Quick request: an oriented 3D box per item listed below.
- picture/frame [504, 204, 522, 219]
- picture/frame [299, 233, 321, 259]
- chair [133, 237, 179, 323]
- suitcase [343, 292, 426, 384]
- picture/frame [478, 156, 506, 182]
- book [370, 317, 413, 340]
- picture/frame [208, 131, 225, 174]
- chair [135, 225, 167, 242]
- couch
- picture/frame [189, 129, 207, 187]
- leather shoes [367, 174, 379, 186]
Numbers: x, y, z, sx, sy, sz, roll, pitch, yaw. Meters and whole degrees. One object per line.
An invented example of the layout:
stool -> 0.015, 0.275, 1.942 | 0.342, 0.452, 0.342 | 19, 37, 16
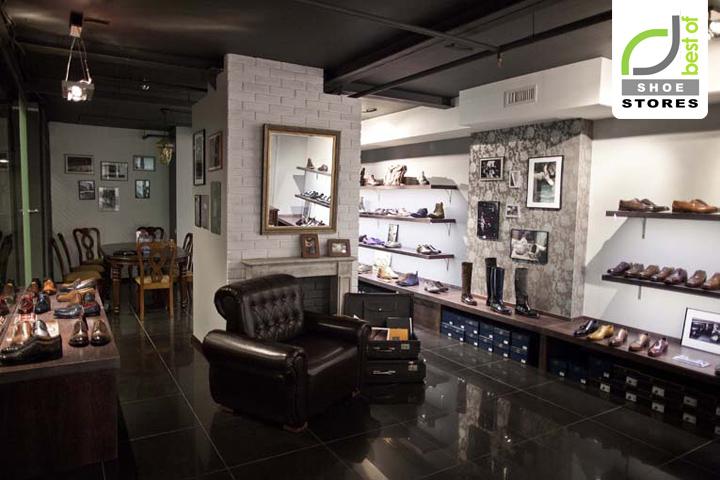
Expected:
picture/frame -> 2.122, -0.399, 6.631 | 0.028, 0.197, 0.206 | 4, 2, -40
picture/frame -> -0.633, 0.064, 6.068 | 0.266, 0.290, 0.194 | -1, 12, -12
chair -> -3.397, 0.547, 7.997 | 0.678, 1.251, 1.397 | -4, 12, -24
suitcase -> 0.268, 1.166, 5.976 | 0.988, 0.966, 1.001 | 0, -3, -2
picture/frame -> 1.892, -1.018, 6.840 | 0.039, 0.328, 0.384 | 2, 2, -36
book -> 0.393, 1.068, 5.757 | 0.305, 0.197, 0.323 | 4, -5, -34
picture/frame -> -1.764, -1.085, 5.890 | 0.045, 0.599, 0.599 | 1, 0, -32
chair -> -4.354, -0.149, 9.965 | 0.583, 0.453, 0.611 | -9, 14, -22
couch -> -0.790, 1.142, 5.151 | 1.447, 1.373, 1.656 | 1, 3, 31
picture/frame -> -2.173, -1.104, 6.478 | 0.102, 0.743, 0.570 | -5, 13, -27
leather shoes -> 0.252, -1.105, 8.868 | 0.118, 0.155, 0.366 | -7, 3, -21
